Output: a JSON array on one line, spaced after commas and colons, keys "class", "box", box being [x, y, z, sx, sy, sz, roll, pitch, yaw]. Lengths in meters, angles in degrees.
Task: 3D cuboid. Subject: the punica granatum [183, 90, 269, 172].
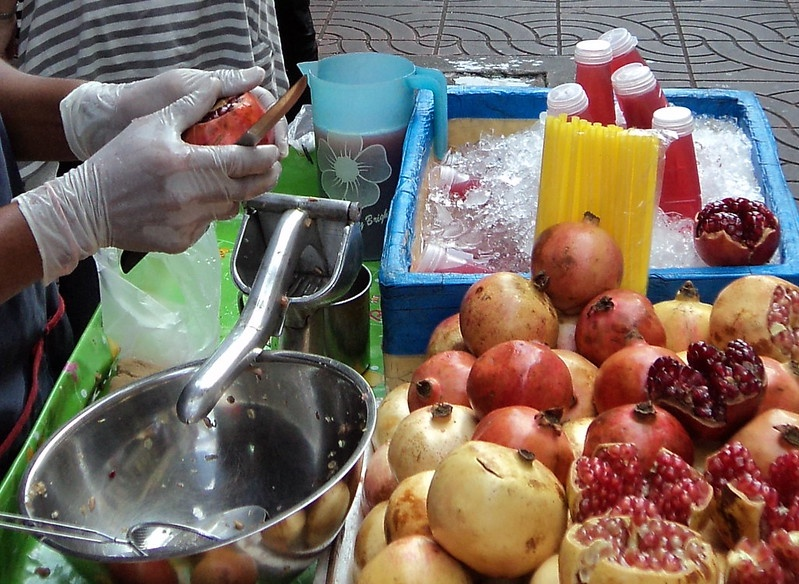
[{"class": "punica granatum", "box": [-0.407, -0.389, 1.523, 0.160, 0.116, 0.135, -44, 29, -9]}]

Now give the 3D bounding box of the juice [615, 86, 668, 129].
[{"class": "juice", "box": [0.797, -0.636, 2.142, 0.119, 0.142, 0.127, -32, 26, -25]}]

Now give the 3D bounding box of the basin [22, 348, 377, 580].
[{"class": "basin", "box": [-0.408, 0.399, 1.384, 0.689, 0.300, 0.530, 6, 39, 5]}]

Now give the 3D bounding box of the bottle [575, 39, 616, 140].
[{"class": "bottle", "box": [0.693, -0.672, 2.264, 0.142, 0.417, 0.168, 5, 35, 24]}]

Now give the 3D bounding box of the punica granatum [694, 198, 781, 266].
[{"class": "punica granatum", "box": [0.902, -0.164, 1.723, 0.186, 0.201, 0.191, 11, 44, 40]}]

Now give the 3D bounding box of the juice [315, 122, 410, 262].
[{"class": "juice", "box": [-0.162, -0.548, 2.576, 0.373, 0.635, 0.386, 5, 37, 7]}]

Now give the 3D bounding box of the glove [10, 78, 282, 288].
[{"class": "glove", "box": [-0.649, -0.282, 1.593, 0.518, 0.275, 0.370, -15, 28, 12]}]
